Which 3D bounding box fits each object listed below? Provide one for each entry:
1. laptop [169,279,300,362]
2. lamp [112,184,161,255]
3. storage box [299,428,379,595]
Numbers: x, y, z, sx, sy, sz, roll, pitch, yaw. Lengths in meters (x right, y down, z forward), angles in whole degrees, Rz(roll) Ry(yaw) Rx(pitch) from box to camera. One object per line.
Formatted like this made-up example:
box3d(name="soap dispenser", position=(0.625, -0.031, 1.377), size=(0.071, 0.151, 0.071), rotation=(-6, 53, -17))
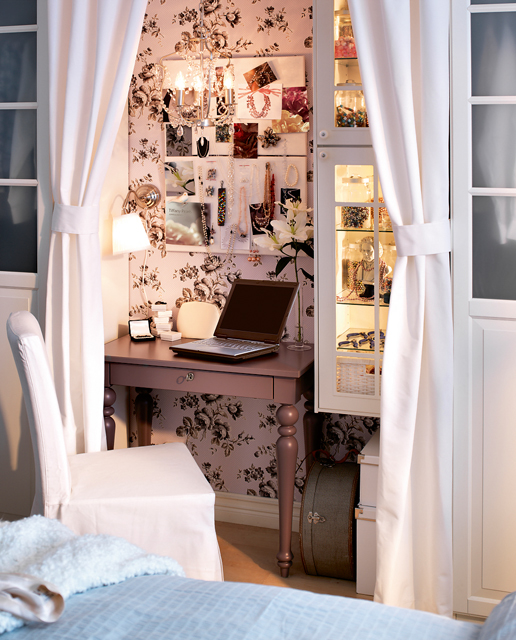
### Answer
box3d(name="laptop", position=(-0.076, -0.003, 2.578), size=(0.388, 0.278, 0.413), rotation=(5, 6, 38))
box3d(name="lamp", position=(-0.578, -0.486, 2.937), size=(0.200, 0.341, 0.312), rotation=(4, 0, -3))
box3d(name="storage box", position=(0.317, 0.762, 2.399), size=(0.238, 0.429, 0.426), rotation=(5, -27, 10))
